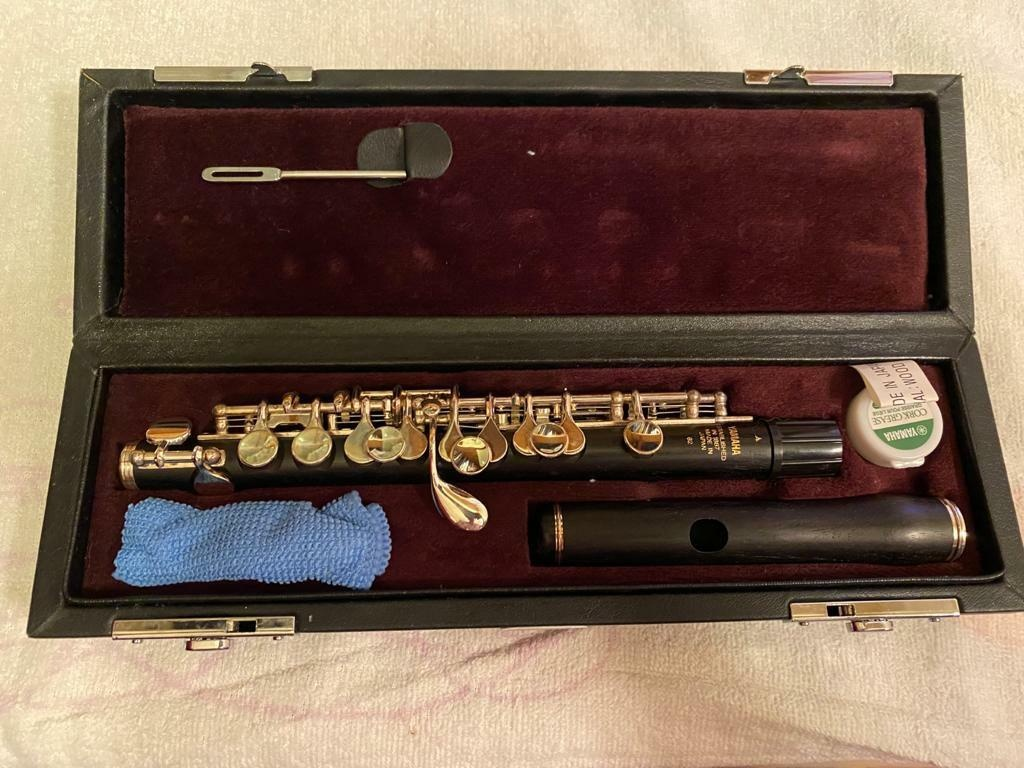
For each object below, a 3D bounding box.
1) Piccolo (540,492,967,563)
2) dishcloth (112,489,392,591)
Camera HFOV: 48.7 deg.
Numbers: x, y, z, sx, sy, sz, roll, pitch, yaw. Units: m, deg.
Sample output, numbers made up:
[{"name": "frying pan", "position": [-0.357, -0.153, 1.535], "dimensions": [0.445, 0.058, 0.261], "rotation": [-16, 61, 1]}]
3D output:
[{"name": "Piccolo", "position": [0.742, 0.443, 3.399], "dimensions": [1.194, 0.215, 0.179], "rotation": [-1, 93, 1]}, {"name": "dishcloth", "position": [-0.783, 0.466, 3.362], "dimensions": [0.831, 0.157, 0.277], "rotation": [-1, 49, -1]}]
